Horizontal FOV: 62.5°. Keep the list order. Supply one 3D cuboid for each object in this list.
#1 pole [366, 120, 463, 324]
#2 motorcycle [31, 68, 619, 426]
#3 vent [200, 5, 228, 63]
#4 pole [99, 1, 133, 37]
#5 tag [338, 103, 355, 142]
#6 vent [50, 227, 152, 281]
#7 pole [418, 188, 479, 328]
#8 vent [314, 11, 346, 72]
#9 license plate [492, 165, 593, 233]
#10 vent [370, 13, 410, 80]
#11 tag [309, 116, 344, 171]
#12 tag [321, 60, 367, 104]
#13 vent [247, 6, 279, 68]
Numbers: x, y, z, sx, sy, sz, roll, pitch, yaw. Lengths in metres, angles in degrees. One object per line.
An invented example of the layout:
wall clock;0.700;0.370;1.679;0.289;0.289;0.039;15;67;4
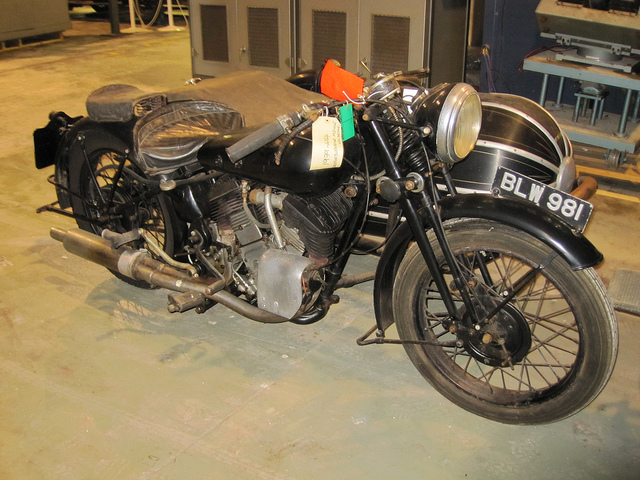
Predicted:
pole;0.427;-0.086;2.314;0.135;0.974;0.148;-25;8;1
motorcycle;-0.094;-0.326;3.126;3.445;1.648;1.478;17;36;25
vent;-1.239;-2.432;6.233;0.397;0.596;0.107;23;35;38
pole;-4.309;-4.622;11.042;0.560;0.665;0.631;15;30;27
tag;0.117;-0.480;2.151;0.006;0.136;0.100;-6;0;-23
vent;-1.242;0.062;3.130;0.851;0.229;0.232;20;19;23
pole;0.558;0.078;2.277;0.071;0.695;0.056;-20;-2;-17
vent;0.103;-2.046;5.456;0.358;0.632;0.050;3;43;4
license plate;0.904;-0.164;2.165;0.383;0.209;0.106;13;30;24
vent;0.694;-1.876;5.088;0.387;0.532;0.043;9;37;17
tag;0.029;-0.373;2.120;0.123;0.222;0.101;0;27;-1
tag;0.102;-0.643;2.162;0.187;0.159;0.130;0;27;0
vent;-0.622;-2.246;5.854;0.456;0.606;0.094;22;34;36
